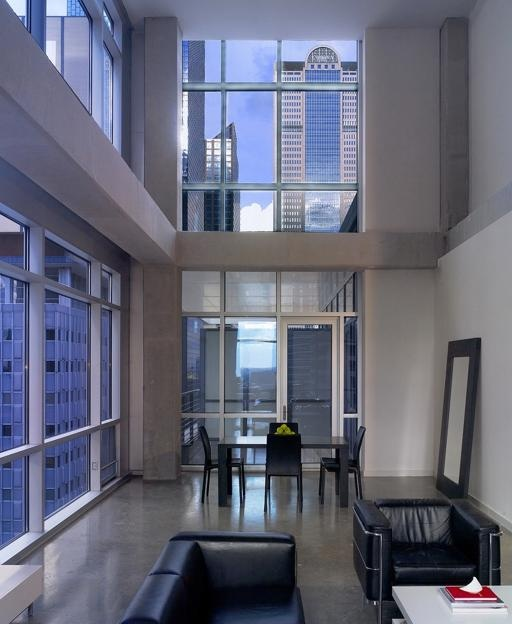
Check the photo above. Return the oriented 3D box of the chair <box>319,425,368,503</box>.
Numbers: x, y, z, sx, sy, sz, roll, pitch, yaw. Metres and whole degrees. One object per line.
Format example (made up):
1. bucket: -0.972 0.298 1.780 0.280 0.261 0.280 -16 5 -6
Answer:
1. chair: 1.082 1.936 7.949 0.572 1.460 0.706 1 -10 2

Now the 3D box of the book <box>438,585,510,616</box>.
1. book: 1.283 1.673 3.681 0.325 0.099 0.257 3 -2 3

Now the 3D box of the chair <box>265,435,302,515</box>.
1. chair: 0.275 1.849 7.401 0.430 1.289 0.657 0 -9 3
